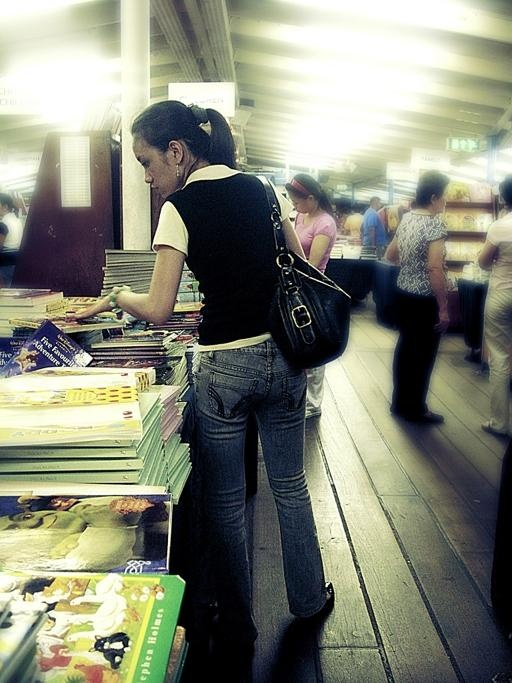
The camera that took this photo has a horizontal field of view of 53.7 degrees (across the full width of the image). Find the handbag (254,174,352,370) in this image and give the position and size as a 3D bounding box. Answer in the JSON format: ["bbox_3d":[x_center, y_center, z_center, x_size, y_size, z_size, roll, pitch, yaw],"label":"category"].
[{"bbox_3d":[0.122,-0.154,1.299,0.249,0.489,0.166,5,12,9],"label":"handbag"}]
